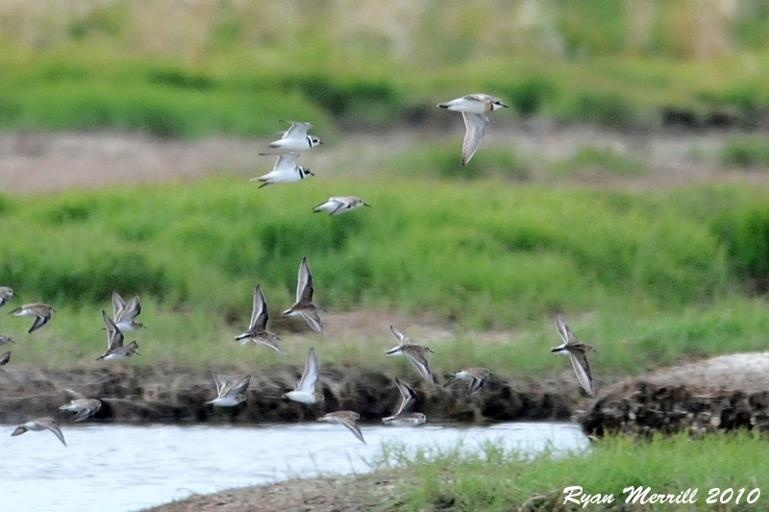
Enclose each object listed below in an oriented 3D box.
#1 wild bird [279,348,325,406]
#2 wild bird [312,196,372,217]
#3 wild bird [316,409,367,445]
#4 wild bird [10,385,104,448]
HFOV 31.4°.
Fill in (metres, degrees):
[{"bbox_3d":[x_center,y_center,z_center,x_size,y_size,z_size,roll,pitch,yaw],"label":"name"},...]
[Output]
[{"bbox_3d":[-1.399,2.109,24.150,0.607,1.030,0.427,-3,6,27],"label":"wild bird"},{"bbox_3d":[-0.783,-0.944,25.555,0.867,0.198,0.755,2,5,-13],"label":"wild bird"},{"bbox_3d":[-0.841,3.258,25.584,0.672,0.204,0.906,10,13,-22],"label":"wild bird"},{"bbox_3d":[-5.998,3.136,25.244,1.693,0.351,1.349,-8,42,-19],"label":"wild bird"}]
